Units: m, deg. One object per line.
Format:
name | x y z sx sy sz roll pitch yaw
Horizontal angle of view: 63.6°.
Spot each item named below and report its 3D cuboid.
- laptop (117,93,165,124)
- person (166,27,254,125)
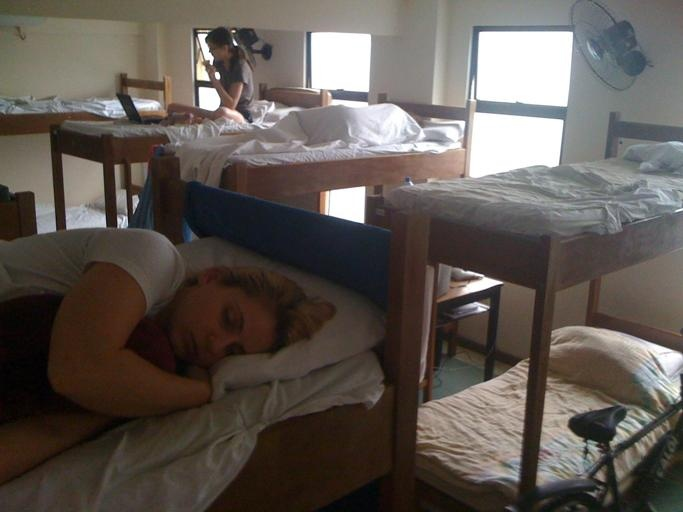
laptop | -1.442 -1.013 3.943 0.249 0.185 0.263 -9 16 -40
person | -0.901 -1.147 3.906 0.576 0.839 0.404 -11 26 -40
